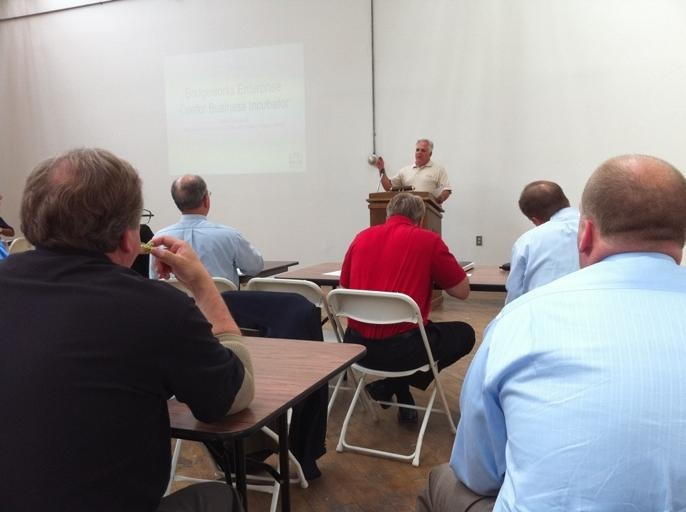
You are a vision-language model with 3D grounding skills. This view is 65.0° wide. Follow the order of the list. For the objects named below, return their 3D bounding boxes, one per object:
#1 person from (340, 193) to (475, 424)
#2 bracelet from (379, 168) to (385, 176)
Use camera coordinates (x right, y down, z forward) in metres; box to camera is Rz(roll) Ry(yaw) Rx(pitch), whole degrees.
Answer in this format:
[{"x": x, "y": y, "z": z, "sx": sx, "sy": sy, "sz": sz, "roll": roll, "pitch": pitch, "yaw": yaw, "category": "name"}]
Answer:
[{"x": 0.312, "y": 0.301, "z": 2.908, "sx": 0.609, "sy": 1.301, "sz": 0.625, "roll": -9, "pitch": 13, "yaw": -44, "category": "person"}, {"x": 0.449, "y": -0.951, "z": 6.088, "sx": 0.073, "sy": 0.091, "sz": 0.109, "roll": -1, "pitch": 2, "yaw": -1, "category": "bracelet"}]
